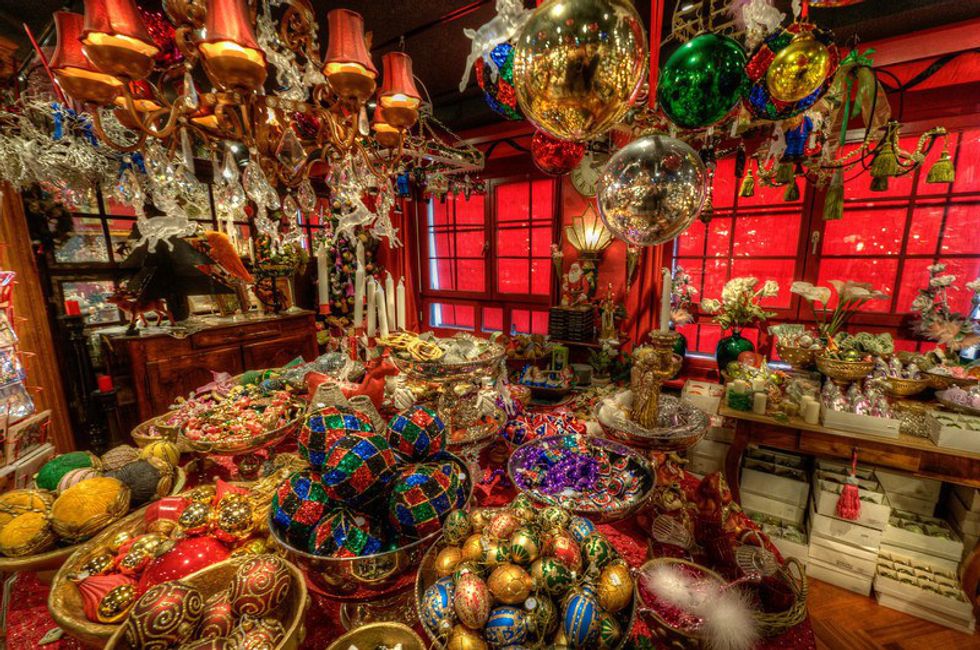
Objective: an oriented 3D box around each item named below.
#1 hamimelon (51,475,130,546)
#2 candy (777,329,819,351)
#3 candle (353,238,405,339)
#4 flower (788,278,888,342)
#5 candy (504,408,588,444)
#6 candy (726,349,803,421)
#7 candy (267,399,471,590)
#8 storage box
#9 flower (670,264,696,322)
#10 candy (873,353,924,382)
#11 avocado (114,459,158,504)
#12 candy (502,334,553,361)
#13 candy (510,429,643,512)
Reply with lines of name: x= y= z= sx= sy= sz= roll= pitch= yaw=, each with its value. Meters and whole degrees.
hamimelon: x=-1.665 y=0.750 z=2.480 sx=0.225 sy=0.226 sz=0.285 roll=45 pitch=49 yaw=16
candy: x=2.005 y=0.087 z=3.769 sx=0.167 sy=0.073 sz=0.161 roll=1 pitch=2 yaw=0
candle: x=-0.617 y=-0.136 z=3.095 sx=0.256 sy=0.678 sz=0.260 roll=-12 pitch=24 yaw=-41
flower: x=2.341 y=-0.119 z=4.000 sx=0.484 sy=0.395 sz=1.141 roll=6 pitch=9 yaw=27
candy: x=0.218 y=0.491 z=2.900 sx=0.212 sy=0.094 sz=0.247 roll=2 pitch=-5 yaw=-43
candy: x=1.705 y=0.380 z=3.597 sx=0.405 sy=0.179 sz=0.563 roll=1 pitch=7 yaw=31
candy: x=-0.569 y=0.645 z=2.712 sx=1.005 sy=0.672 sz=0.860 roll=-8 pitch=19 yaw=-37
storage box: x=2.515 y=1.193 z=4.239 sx=1.853 sy=0.772 sz=1.183 roll=11 pitch=14 yaw=21
flower: x=1.500 y=-0.208 z=4.480 sx=0.190 sy=0.423 sz=0.720 roll=5 pitch=8 yaw=18
candy: x=2.484 y=0.226 z=3.509 sx=0.212 sy=0.113 sz=0.208 roll=0 pitch=4 yaw=41
avocado: x=-1.535 y=0.671 z=2.542 sx=0.193 sy=0.164 sz=0.152 roll=-18 pitch=13 yaw=-34
candy: x=0.286 y=0.171 z=4.439 sx=0.349 sy=0.134 sz=0.657 roll=3 pitch=7 yaw=11
candy: x=0.394 y=0.624 z=2.773 sx=0.668 sy=0.266 sz=0.601 roll=0 pitch=15 yaw=-21
